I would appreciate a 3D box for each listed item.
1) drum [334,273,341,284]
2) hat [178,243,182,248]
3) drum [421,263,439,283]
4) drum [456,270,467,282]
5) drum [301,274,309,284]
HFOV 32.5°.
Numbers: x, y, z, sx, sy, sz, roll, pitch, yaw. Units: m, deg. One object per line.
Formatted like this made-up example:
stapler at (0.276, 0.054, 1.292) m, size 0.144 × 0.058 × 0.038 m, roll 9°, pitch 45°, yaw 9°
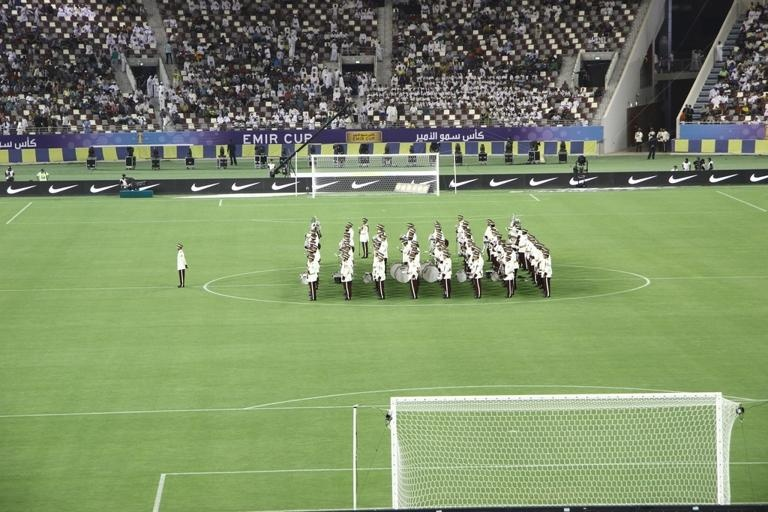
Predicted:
drum at (-1.748, 0.805, 47.199) m, size 0.415 × 0.291 × 0.336 m, roll 0°, pitch -12°, yaw -5°
hat at (-7.556, -0.383, 47.999) m, size 0.174 × 0.145 × 0.159 m, roll 14°, pitch 28°, yaw -30°
drum at (1.631, 0.634, 46.371) m, size 0.686 × 0.581 × 0.623 m, roll 14°, pitch 10°, yaw 2°
drum at (2.730, 0.721, 46.803) m, size 0.364 × 0.379 × 0.162 m, roll -3°, pitch -14°, yaw 25°
drum at (-2.821, 0.791, 45.626) m, size 0.349 × 0.290 × 0.334 m, roll 0°, pitch 3°, yaw -3°
